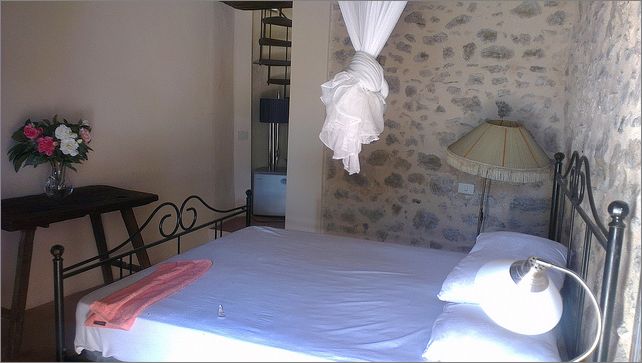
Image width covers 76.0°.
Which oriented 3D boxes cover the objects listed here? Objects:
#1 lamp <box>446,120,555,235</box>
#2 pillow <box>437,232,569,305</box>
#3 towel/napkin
[{"bbox_3d":[1.428,-0.087,3.893,0.765,1.348,0.729,-4,25,-5],"label":"lamp"},{"bbox_3d":[1.372,0.577,3.108,0.566,0.204,0.858,-3,18,29],"label":"pillow"},{"bbox_3d":[-1.324,0.856,3.219,0.432,0.095,0.600,5,23,37],"label":"towel/napkin"}]
